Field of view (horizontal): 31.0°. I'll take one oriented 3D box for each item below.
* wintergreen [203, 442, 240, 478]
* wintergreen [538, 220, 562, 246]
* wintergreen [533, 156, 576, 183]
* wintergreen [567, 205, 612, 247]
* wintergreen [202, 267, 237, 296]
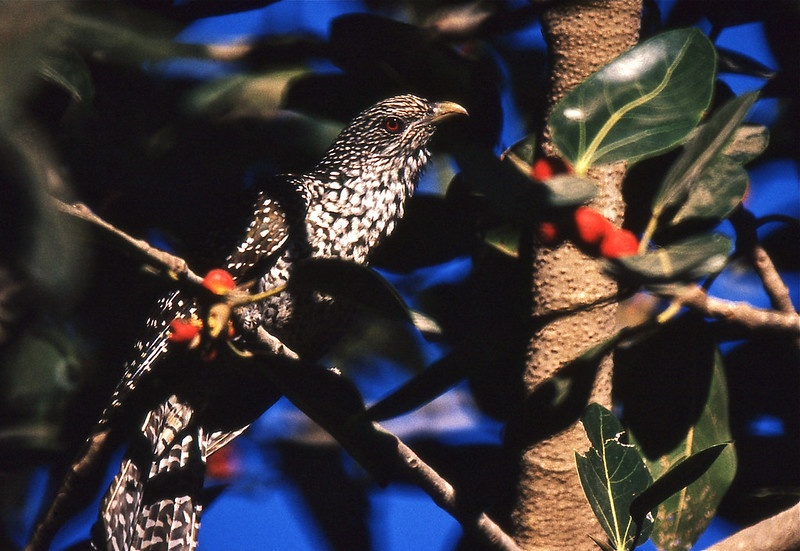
[{"bbox_3d":[-0.295,0.306,2.390,0.055,0.013,0.051,-5,75,21],"label":"wintergreen"},{"bbox_3d":[0.235,-0.069,2.299,0.034,0.011,0.034,15,96,26],"label":"wintergreen"},{"bbox_3d":[0.232,-0.170,2.293,0.056,0.024,0.059,-28,26,-11],"label":"wintergreen"},{"bbox_3d":[0.298,-0.081,2.278,0.055,0.060,0.034,-22,26,1],"label":"wintergreen"},{"bbox_3d":[-0.285,0.009,2.289,0.041,0.041,0.027,-2,74,42],"label":"wintergreen"}]
